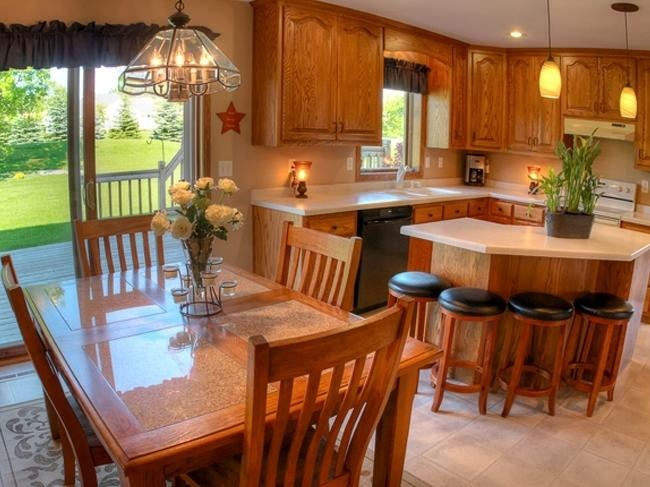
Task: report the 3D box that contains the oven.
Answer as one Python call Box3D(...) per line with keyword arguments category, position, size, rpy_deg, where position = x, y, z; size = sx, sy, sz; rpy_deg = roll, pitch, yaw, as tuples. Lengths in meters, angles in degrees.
Box3D(category="oven", position=(0.360, 0.083, 4.854), size=(0.632, 1.016, 0.682), rpy_deg=(-7, 20, -30))

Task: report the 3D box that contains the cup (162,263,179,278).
Box3D(category="cup", position=(-0.808, 0.141, 2.575), size=(0.091, 0.061, 0.077), rpy_deg=(3, 6, 35))

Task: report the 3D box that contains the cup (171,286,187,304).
Box3D(category="cup", position=(-0.699, 0.249, 2.368), size=(0.072, 0.051, 0.069), rpy_deg=(0, 8, 0))

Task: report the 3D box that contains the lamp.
Box3D(category="lamp", position=(-0.624, -0.732, 2.193), size=(0.482, 0.527, 0.464), rpy_deg=(-4, 12, -18))

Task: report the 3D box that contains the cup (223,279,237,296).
Box3D(category="cup", position=(-0.471, 0.220, 2.450), size=(0.073, 0.053, 0.071), rpy_deg=(0, 10, 0))

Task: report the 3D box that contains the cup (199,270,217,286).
Box3D(category="cup", position=(-0.543, 0.162, 2.292), size=(0.066, 0.046, 0.065), rpy_deg=(1, 7, 0))

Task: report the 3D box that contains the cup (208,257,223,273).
Box3D(category="cup", position=(-0.541, 0.105, 2.391), size=(0.074, 0.050, 0.075), rpy_deg=(0, 4, 0))
